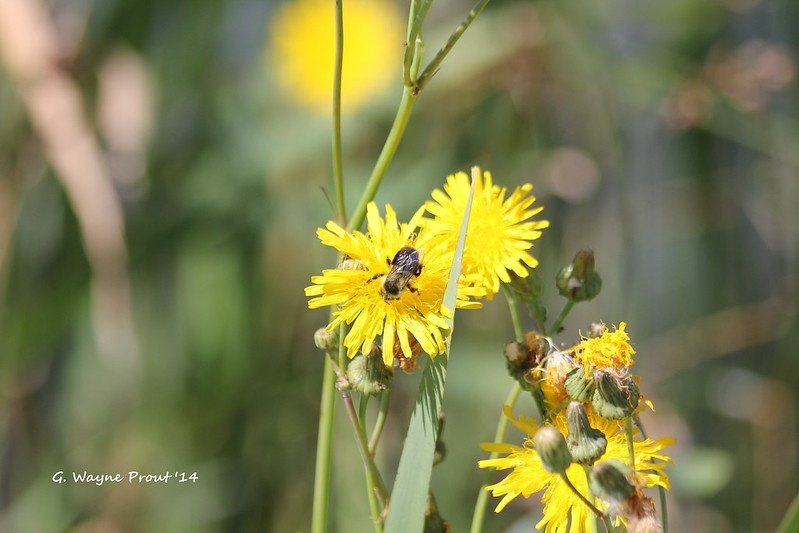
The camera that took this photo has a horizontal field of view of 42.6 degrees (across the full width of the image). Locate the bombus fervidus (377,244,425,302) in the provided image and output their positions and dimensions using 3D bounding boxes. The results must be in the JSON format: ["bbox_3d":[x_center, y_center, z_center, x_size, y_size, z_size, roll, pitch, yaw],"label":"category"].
[{"bbox_3d":[0.007,0.007,2.044,0.073,0.106,0.035,37,-1,-10],"label":"bombus fervidus"}]

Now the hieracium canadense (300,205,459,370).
[{"bbox_3d":[-0.036,0.068,2.101,0.345,0.139,0.351,19,24,32],"label":"hieracium canadense"}]
